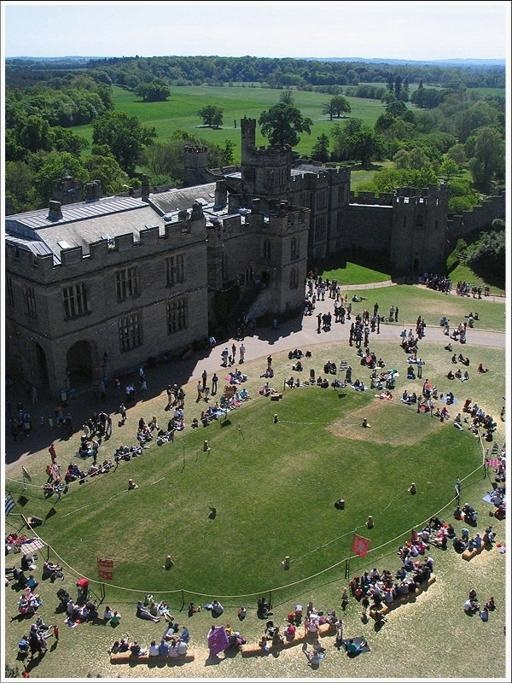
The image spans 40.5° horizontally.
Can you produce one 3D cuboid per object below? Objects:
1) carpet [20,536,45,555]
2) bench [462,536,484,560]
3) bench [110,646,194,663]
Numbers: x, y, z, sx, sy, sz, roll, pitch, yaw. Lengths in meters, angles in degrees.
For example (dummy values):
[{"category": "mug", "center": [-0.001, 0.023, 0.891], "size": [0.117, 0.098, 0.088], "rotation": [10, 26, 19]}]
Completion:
[{"category": "carpet", "center": [-13.168, 12.019, 40.748], "size": [0.820, 0.319, 1.114], "rotation": [26, 25, 37]}, {"category": "bench", "center": [13.266, 12.616, 42.522], "size": [0.802, 0.871, 2.170], "rotation": [9, 18, 38]}, {"category": "bench", "center": [-5.071, 15.308, 34.163], "size": [4.703, 0.547, 0.763], "rotation": [3, 53, -5]}]
